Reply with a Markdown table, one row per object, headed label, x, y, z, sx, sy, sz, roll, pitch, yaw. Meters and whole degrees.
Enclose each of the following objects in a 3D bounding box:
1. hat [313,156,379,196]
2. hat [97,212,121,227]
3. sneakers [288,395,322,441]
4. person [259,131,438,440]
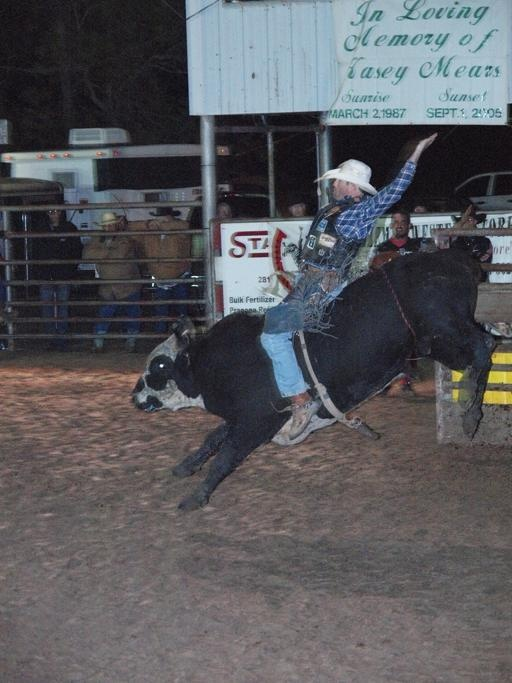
| label | x | y | z | sx | sy | sz | roll | pitch | yaw |
| --- | --- | --- | --- | --- | --- | --- | --- | --- | --- |
| hat | 0.452 | -0.834 | 4.003 | 0.278 | 0.105 | 0.220 | 14 | 5 | 10 |
| hat | -1.793 | -1.518 | 9.767 | 0.301 | 0.104 | 0.308 | -10 | -1 | -19 |
| sneakers | 0.236 | 0.390 | 4.127 | 0.121 | 0.268 | 0.094 | -18 | 56 | -39 |
| person | 0.397 | -0.185 | 4.020 | 0.751 | 1.455 | 0.386 | -2 | 10 | 0 |
